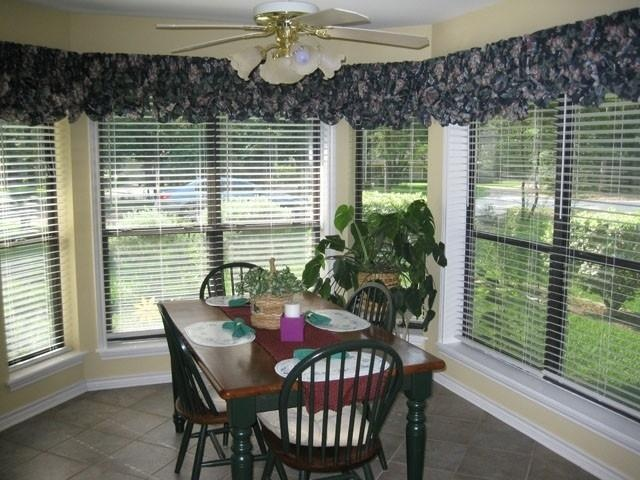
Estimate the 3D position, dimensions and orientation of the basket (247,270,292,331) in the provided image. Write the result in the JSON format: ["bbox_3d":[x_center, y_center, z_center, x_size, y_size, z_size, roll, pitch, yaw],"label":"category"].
[{"bbox_3d":[-0.318,0.372,3.139,0.288,0.346,0.352,1,5,-8],"label":"basket"}]

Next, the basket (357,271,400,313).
[{"bbox_3d":[0.476,0.427,4.138,0.302,0.218,0.298,0,3,-1],"label":"basket"}]

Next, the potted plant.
[{"bbox_3d":[0.437,0.141,4.246,1.200,0.847,1.024,-3,7,-38],"label":"potted plant"}]
